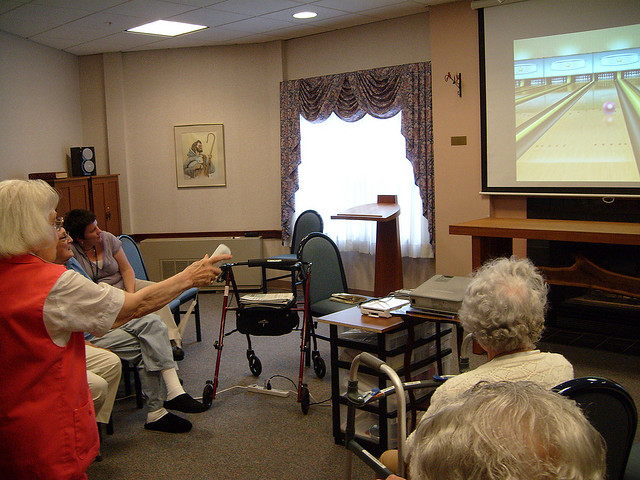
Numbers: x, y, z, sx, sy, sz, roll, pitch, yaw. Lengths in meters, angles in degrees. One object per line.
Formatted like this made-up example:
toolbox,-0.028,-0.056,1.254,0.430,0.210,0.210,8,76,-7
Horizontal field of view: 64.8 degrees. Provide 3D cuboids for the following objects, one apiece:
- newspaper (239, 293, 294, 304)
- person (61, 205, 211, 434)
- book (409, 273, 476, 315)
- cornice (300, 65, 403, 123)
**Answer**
newspaper,-0.406,0.454,3.997,0.409,0.043,0.292,-1,10,9
person,-1.449,0.552,3.939,1.318,1.741,0.708,-6,-2,33
book,0.709,0.312,2.892,0.300,0.075,0.318,0,19,30
cornice,0.374,-1.869,6.542,1.412,0.614,0.063,-2,10,16
